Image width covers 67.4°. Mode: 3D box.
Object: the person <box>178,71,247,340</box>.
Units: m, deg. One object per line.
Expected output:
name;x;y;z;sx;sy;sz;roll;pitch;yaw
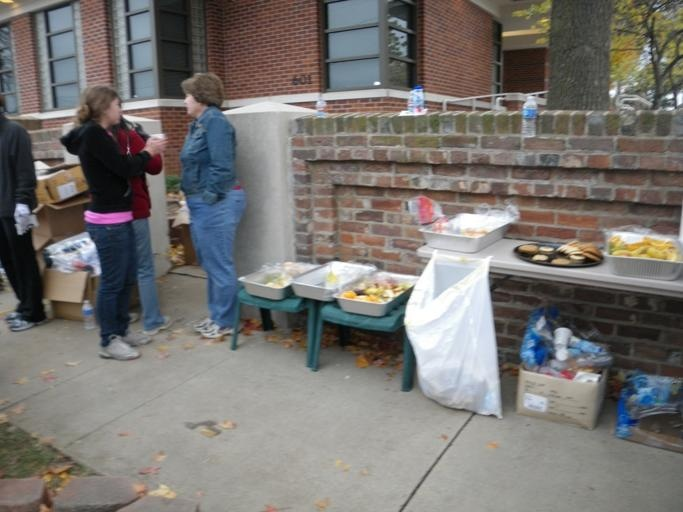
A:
person;-1.282;-0.484;5.058;0.930;2.311;0.868;-1;20;-24

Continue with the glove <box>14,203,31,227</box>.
glove;-3.085;-0.407;4.974;0.139;0.205;0.102;-10;19;-25

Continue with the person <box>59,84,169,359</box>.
person;-2.026;-0.274;4.608;0.578;2.430;0.684;2;19;13

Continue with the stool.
stool;-0.086;0.625;4.607;1.857;0.687;0.669;6;17;29
